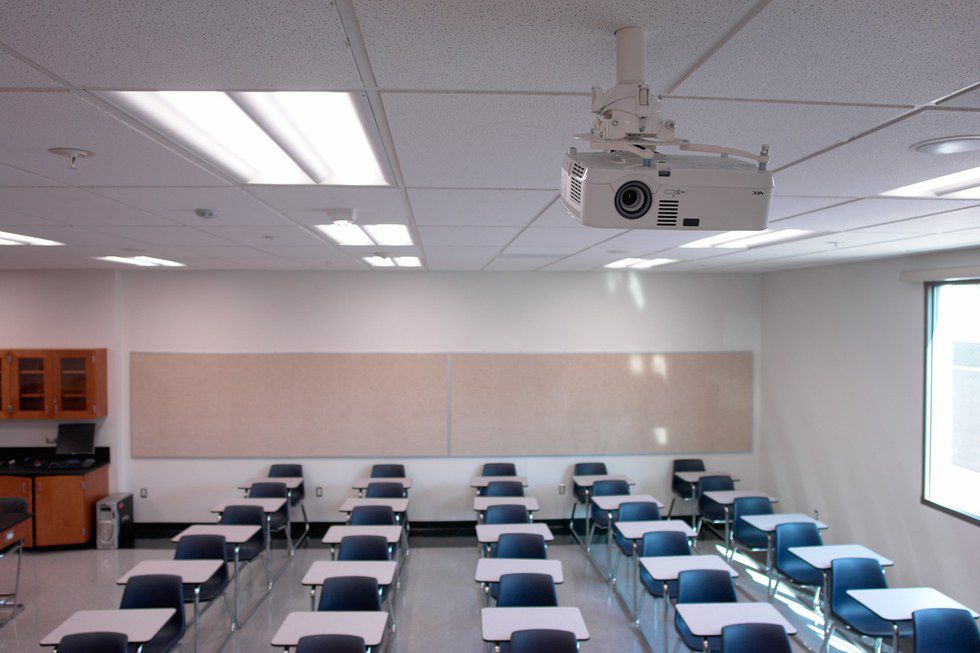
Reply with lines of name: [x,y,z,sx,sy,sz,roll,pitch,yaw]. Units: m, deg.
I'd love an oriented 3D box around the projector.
projector: [0.983,-0.772,3.873,1.131,0.505,0.231,-2,-2,-4]

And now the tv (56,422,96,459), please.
tv: [-5.662,1.552,9.490,0.539,0.468,0.067,0,-15,-8]
